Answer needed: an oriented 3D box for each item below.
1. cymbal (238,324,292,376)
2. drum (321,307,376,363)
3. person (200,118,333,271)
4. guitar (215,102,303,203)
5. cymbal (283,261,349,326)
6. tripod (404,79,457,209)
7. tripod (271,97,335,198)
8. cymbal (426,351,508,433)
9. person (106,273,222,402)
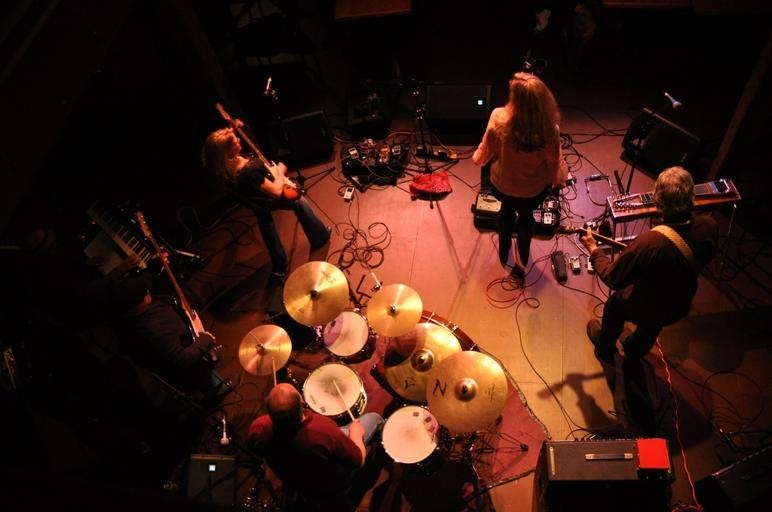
[{"bbox_3d":[-1.795,1.634,9.188,0.735,0.955,0.733,4,49,8],"label":"cymbal"},{"bbox_3d":[-0.573,1.313,9.532,0.764,0.799,0.795,10,84,32],"label":"drum"},{"bbox_3d":[-2.217,-1.010,10.710,0.885,2.563,1.572,38,78,20],"label":"person"},{"bbox_3d":[-2.285,-1.776,10.577,0.270,2.212,0.776,-38,14,-17],"label":"guitar"},{"bbox_3d":[-1.033,0.693,8.978,0.953,0.879,0.822,-18,50,-11],"label":"cymbal"},{"bbox_3d":[0.875,-2.328,11.144,0.869,1.701,2.306,1,49,6],"label":"tripod"},{"bbox_3d":[-1.857,-2.060,12.122,1.417,1.509,1.017,0,41,11],"label":"tripod"},{"bbox_3d":[1.097,1.843,8.098,1.068,0.507,0.959,-2,49,3],"label":"cymbal"},{"bbox_3d":[-3.432,1.348,9.075,0.299,0.830,2.095,-31,12,11],"label":"person"}]
